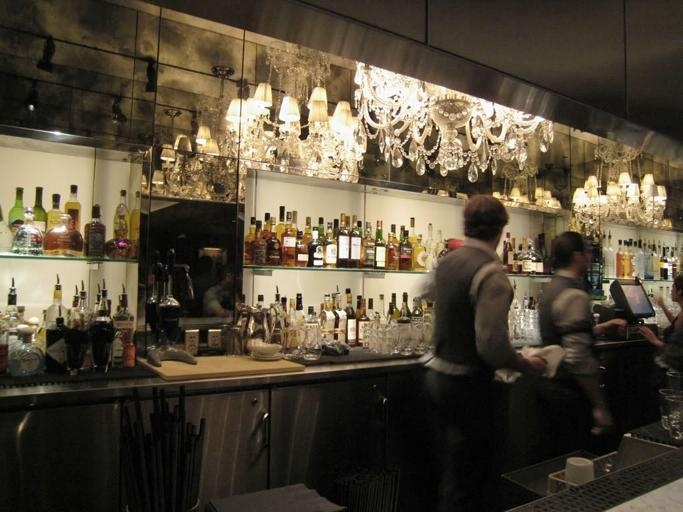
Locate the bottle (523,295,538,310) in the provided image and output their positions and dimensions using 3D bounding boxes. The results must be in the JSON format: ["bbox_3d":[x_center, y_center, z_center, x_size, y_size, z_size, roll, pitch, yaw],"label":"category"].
[{"bbox_3d":[1.774,0.435,5.583,0.113,0.221,0.109,0,3,0],"label":"bottle"}]

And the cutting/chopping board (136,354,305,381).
[{"bbox_3d":[-0.706,0.642,3.502,0.883,0.056,0.560,1,0,-28],"label":"cutting/chopping board"}]

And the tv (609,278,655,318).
[{"bbox_3d":[2.591,0.415,5.382,0.467,0.357,0.238,4,-16,-41],"label":"tv"}]

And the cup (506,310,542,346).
[{"bbox_3d":[1.522,0.602,5.047,0.294,0.344,0.302,1,-4,0],"label":"cup"}]

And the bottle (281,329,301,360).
[{"bbox_3d":[-0.337,0.575,3.872,0.152,0.268,0.164,3,-4,0],"label":"bottle"}]

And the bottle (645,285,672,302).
[{"bbox_3d":[3.461,0.416,6.549,0.174,0.123,0.096,1,-5,-16],"label":"bottle"}]

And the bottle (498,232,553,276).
[{"bbox_3d":[1.633,-0.008,5.347,0.358,0.353,0.123,4,-12,-20],"label":"bottle"}]

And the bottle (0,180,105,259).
[{"bbox_3d":[-1.718,-0.202,3.482,0.424,0.417,0.167,4,-10,-41],"label":"bottle"}]

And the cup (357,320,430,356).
[{"bbox_3d":[0.357,0.558,4.191,0.327,0.139,0.245,-2,-6,39],"label":"cup"}]
